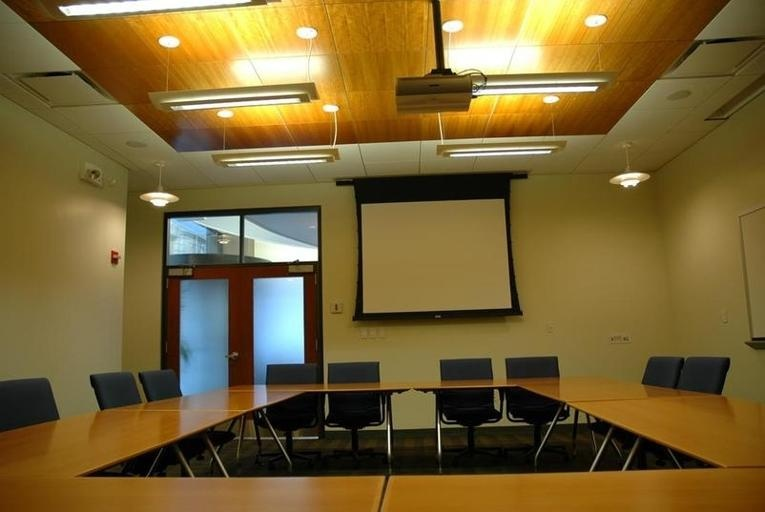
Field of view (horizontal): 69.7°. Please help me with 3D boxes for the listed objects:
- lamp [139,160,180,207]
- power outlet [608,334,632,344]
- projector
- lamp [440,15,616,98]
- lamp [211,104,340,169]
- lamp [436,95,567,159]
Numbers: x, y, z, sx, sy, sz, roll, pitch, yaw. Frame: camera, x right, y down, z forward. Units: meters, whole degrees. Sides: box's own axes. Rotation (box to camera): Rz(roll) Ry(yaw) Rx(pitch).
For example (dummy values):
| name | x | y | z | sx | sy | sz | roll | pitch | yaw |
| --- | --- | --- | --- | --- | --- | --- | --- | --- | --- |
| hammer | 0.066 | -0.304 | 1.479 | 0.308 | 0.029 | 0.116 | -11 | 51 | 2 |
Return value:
| name | x | y | z | sx | sy | sz | roll | pitch | yaw |
| --- | --- | --- | --- | --- | --- | --- | --- | --- | --- |
| lamp | -2.586 | -0.821 | 6.401 | 0.467 | 0.482 | 0.429 | 10 | 12 | 23 |
| power outlet | 3.460 | 1.219 | 8.036 | 0.306 | 0.125 | 0.008 | 2 | -8 | -1 |
| projector | 0.488 | -1.422 | 4.810 | 0.678 | 0.247 | 0.373 | -1 | -12 | -1 |
| lamp | 1.197 | -1.623 | 4.914 | 1.701 | 0.259 | 0.284 | 2 | -42 | 16 |
| lamp | -1.064 | -1.231 | 6.304 | 1.392 | 0.539 | 1.062 | 0 | -8 | 12 |
| lamp | 1.499 | -1.516 | 6.723 | 0.501 | 0.635 | 1.651 | -5 | 9 | -32 |
